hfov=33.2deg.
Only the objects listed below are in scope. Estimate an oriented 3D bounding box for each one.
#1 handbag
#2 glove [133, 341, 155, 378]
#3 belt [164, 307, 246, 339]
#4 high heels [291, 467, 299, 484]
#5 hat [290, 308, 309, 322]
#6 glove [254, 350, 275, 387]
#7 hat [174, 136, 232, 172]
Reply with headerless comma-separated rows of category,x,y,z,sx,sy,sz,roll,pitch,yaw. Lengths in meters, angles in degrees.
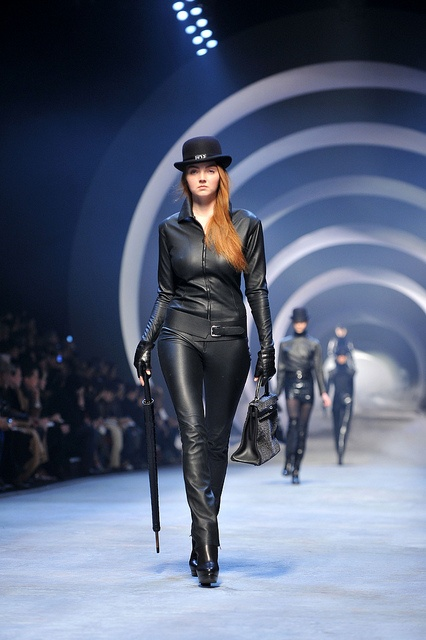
handbag,0.220,0.481,3.356,0.169,0.355,0.439,6,5,14
glove,-0.339,0.187,3.477,0.078,0.160,0.117,10,0,-5
belt,-0.034,0.019,3.378,0.383,0.122,0.142,4,4,-2
high heels,0.937,1.779,8.122,0.094,0.134,0.268,6,4,7
hat,1.166,-0.075,9.874,0.235,0.185,0.208,-3,-2,30
glove,0.226,0.225,3.418,0.072,0.143,0.100,7,16,-3
hat,-0.044,-0.817,3.445,0.261,0.181,0.253,5,4,1
